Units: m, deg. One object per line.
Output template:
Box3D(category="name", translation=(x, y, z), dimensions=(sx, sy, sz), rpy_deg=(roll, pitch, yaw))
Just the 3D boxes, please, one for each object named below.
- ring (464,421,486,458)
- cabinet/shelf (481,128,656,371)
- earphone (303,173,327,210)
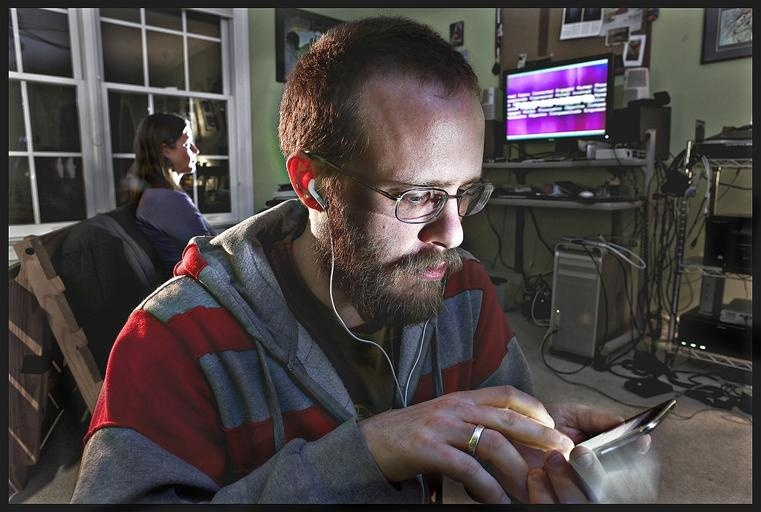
Box3D(category="ring", translation=(0.283, 0.557, 1.824), dimensions=(0.024, 0.076, 0.075), rpy_deg=(14, 28, 11))
Box3D(category="cabinet/shelf", translation=(0.729, -0.055, 2.357), dimensions=(0.419, 0.928, 0.902), rpy_deg=(-4, 4, -43))
Box3D(category="earphone", translation=(-0.205, -0.202, 1.907), dimensions=(0.022, 0.093, 0.063), rpy_deg=(-16, 2, -31))
